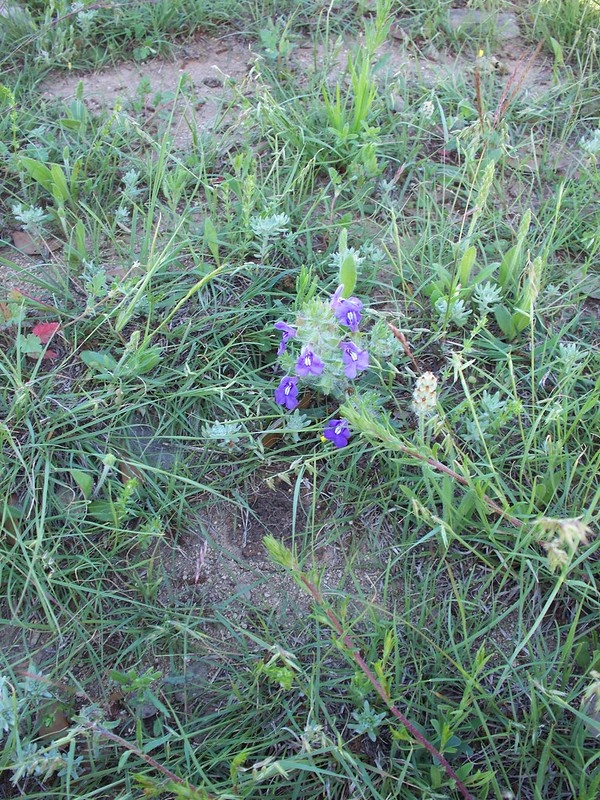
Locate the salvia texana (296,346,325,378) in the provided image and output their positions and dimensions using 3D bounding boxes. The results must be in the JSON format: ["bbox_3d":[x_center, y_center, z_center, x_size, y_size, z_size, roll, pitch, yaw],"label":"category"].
[{"bbox_3d":[0.027,-0.104,1.903,0.076,0.084,0.049,-22,50,-23],"label":"salvia texana"}]

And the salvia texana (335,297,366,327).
[{"bbox_3d":[0.140,-0.245,1.954,0.072,0.086,0.035,2,22,1],"label":"salvia texana"}]

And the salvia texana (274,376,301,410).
[{"bbox_3d":[-0.037,-0.023,2.012,0.073,0.115,0.047,-16,49,-18],"label":"salvia texana"}]

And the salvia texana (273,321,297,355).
[{"bbox_3d":[-0.042,-0.175,1.955,0.068,0.107,0.033,26,23,35],"label":"salvia texana"}]

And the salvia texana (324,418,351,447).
[{"bbox_3d":[0.106,0.100,1.994,0.073,0.096,0.080,6,45,3],"label":"salvia texana"}]
